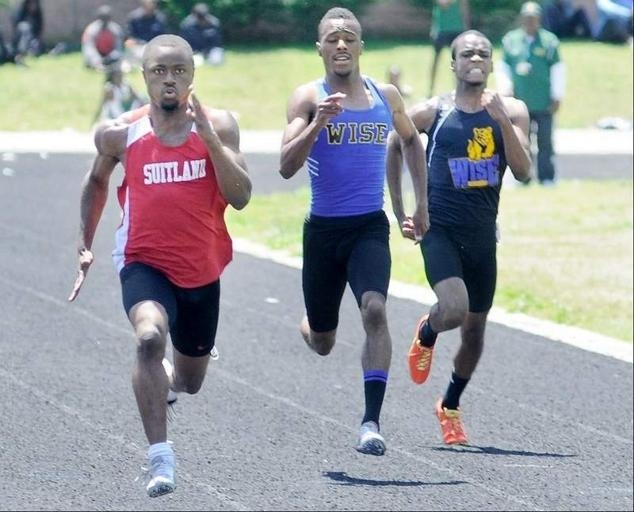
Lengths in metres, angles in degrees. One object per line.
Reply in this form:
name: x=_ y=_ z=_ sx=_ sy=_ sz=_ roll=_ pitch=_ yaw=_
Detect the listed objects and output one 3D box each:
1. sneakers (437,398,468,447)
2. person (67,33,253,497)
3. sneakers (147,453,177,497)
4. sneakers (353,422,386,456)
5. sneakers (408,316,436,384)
sneakers: x=0.857 y=1.076 z=6.216 sx=0.104 sy=0.113 sz=0.291 roll=-8 pitch=45 yaw=-8
person: x=-0.971 y=0.020 z=5.555 sx=1.041 sy=2.476 sz=1.122 roll=10 pitch=20 yaw=31
sneakers: x=-0.823 y=1.149 z=5.034 sx=0.144 sy=0.220 sz=0.224 roll=-4 pitch=18 yaw=-10
sneakers: x=0.296 y=1.065 z=5.474 sx=0.154 sy=0.205 sz=0.167 roll=0 pitch=17 yaw=2
sneakers: x=0.675 y=0.671 z=6.653 sx=0.163 sy=0.483 sz=0.217 roll=0 pitch=21 yaw=-14
